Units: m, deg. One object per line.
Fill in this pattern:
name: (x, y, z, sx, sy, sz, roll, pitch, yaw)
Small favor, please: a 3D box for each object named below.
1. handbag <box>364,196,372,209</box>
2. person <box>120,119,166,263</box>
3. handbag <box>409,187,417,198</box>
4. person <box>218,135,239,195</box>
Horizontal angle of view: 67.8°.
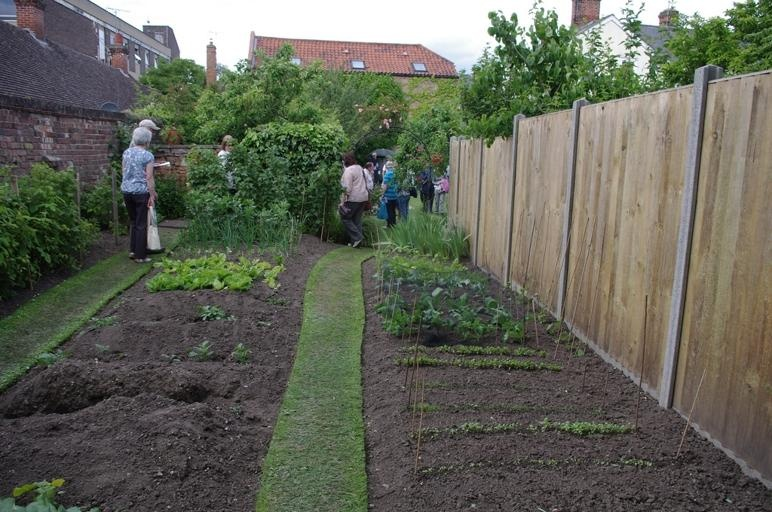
handbag: (-0.381, -1.107, 12.103, 0.216, 0.194, 0.310, 0, -15, -11)
person: (-3.695, -0.913, 8.635, 0.468, 1.963, 0.454, -9, 14, -33)
handbag: (0.887, -2.243, 20.417, 0.303, 0.434, 0.415, -3, 13, 7)
person: (-3.031, -1.729, 10.909, 0.330, 1.074, 1.245, -4, 12, -15)
